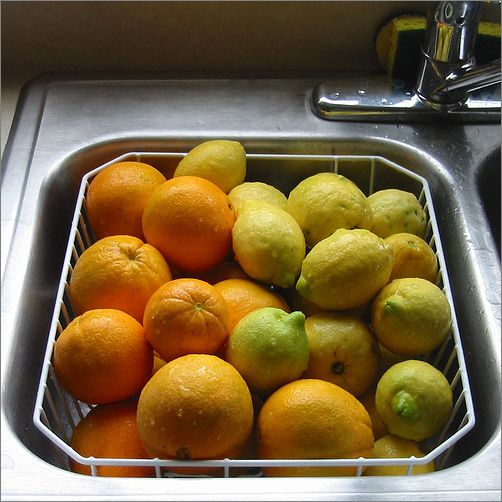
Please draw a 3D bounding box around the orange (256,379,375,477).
[{"bbox_3d":[0.057,0.140,0.493,0.085,0.095,0.081,38,70,-7],"label":"orange"}]

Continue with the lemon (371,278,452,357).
[{"bbox_3d":[0.158,0.062,0.551,0.077,0.067,0.078,-10,103,-36],"label":"lemon"}]

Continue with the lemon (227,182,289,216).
[{"bbox_3d":[0.007,-0.066,0.620,0.042,0.031,0.051,39,24,32],"label":"lemon"}]

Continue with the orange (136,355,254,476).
[{"bbox_3d":[-0.043,0.133,0.459,0.089,0.092,0.104,0,96,8],"label":"orange"}]

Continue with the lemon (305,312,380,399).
[{"bbox_3d":[0.087,0.097,0.553,0.081,0.068,0.078,-19,104,-33],"label":"lemon"}]

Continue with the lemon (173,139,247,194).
[{"bbox_3d":[-0.048,-0.102,0.628,0.074,0.060,0.060,-17,57,-13],"label":"lemon"}]

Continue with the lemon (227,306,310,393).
[{"bbox_3d":[0.015,0.091,0.470,0.045,0.044,0.056,39,87,-12],"label":"lemon"}]

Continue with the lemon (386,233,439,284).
[{"bbox_3d":[0.171,0.009,0.557,0.049,0.051,0.067,6,77,1],"label":"lemon"}]

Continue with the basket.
[{"bbox_3d":[-0.047,0.042,0.550,0.339,0.104,0.378,-9,44,-20],"label":"basket"}]

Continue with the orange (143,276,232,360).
[{"bbox_3d":[-0.057,0.061,0.464,0.066,0.066,0.075,1,84,-16],"label":"orange"}]

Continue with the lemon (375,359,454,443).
[{"bbox_3d":[0.155,0.139,0.495,0.064,0.081,0.075,-1,91,26],"label":"lemon"}]

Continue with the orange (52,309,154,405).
[{"bbox_3d":[-0.138,0.110,0.504,0.088,0.093,0.098,6,85,-38],"label":"orange"}]

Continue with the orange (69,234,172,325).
[{"bbox_3d":[-0.126,0.037,0.513,0.075,0.078,0.094,2,81,-20],"label":"orange"}]
